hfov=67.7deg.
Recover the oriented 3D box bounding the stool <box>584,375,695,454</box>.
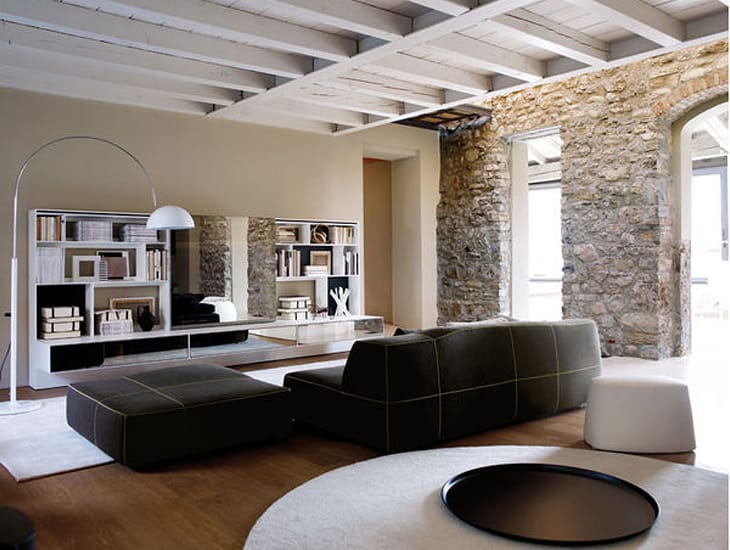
[{"bbox_3d":[1.914,1.000,3.800,0.652,0.390,0.578,0,-7,7],"label":"stool"}]

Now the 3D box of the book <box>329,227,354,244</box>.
[{"bbox_3d":[-0.343,-0.587,8.080,0.288,0.333,0.376,-1,2,-33],"label":"book"}]

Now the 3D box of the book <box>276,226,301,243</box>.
[{"bbox_3d":[-1.091,-0.570,7.611,0.088,0.237,0.405,3,8,34],"label":"book"}]

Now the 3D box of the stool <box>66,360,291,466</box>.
[{"bbox_3d":[-1.354,1.038,4.153,1.446,0.456,1.034,-5,7,-34],"label":"stool"}]

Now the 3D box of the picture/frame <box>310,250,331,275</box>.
[{"bbox_3d":[-0.676,-0.183,7.877,0.402,0.424,0.038,-1,-1,-40],"label":"picture/frame"}]

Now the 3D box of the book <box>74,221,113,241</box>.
[{"bbox_3d":[-3.006,-0.488,6.011,0.290,0.167,0.284,0,-1,-42],"label":"book"}]

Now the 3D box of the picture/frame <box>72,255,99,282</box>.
[{"bbox_3d":[-3.083,-0.065,5.990,0.176,0.287,0.331,1,2,45],"label":"picture/frame"}]

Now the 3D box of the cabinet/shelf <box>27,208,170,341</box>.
[{"bbox_3d":[-2.956,-0.007,6.112,1.429,1.206,0.360,-2,-1,-39],"label":"cabinet/shelf"}]

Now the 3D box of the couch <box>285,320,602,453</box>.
[{"bbox_3d":[0.754,0.813,4.293,2.247,0.920,0.736,-4,7,-23],"label":"couch"}]

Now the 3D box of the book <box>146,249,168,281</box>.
[{"bbox_3d":[-2.477,-0.095,6.518,0.336,0.382,0.426,0,-1,-23],"label":"book"}]

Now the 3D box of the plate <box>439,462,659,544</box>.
[{"bbox_3d":[0.927,1.138,2.734,1.052,0.065,0.783,-2,6,-9],"label":"plate"}]

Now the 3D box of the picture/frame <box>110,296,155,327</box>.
[{"bbox_3d":[-2.736,0.436,6.338,0.424,0.262,0.053,1,0,-42],"label":"picture/frame"}]

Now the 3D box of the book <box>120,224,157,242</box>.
[{"bbox_3d":[-2.612,-0.477,6.271,0.325,0.141,0.231,0,2,-41],"label":"book"}]
